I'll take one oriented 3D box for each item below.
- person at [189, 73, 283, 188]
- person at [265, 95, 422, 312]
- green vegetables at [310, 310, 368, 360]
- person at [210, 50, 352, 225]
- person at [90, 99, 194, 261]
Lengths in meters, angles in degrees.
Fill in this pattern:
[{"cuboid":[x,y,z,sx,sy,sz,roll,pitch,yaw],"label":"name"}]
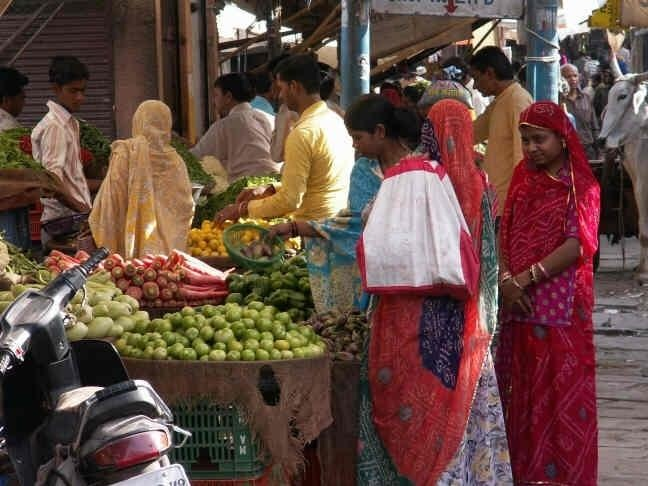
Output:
[{"cuboid":[-0.959,-1.260,8.586,0.808,1.334,0.949,5,17,-9],"label":"person"},{"cuboid":[0.228,0.090,4.806,0.920,1.929,0.561,6,16,31],"label":"person"},{"cuboid":[0.093,0.514,4.349,0.210,0.110,0.279,-2,13,-16],"label":"green vegetables"},{"cuboid":[-0.226,-0.805,5.937,1.098,1.508,1.103,5,6,21],"label":"person"},{"cuboid":[-1.408,-0.499,5.833,0.797,1.210,0.369,-3,2,-20],"label":"person"}]
